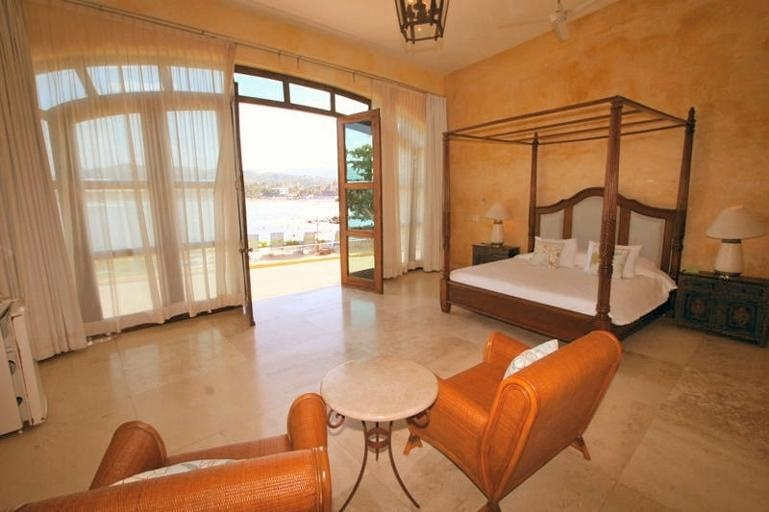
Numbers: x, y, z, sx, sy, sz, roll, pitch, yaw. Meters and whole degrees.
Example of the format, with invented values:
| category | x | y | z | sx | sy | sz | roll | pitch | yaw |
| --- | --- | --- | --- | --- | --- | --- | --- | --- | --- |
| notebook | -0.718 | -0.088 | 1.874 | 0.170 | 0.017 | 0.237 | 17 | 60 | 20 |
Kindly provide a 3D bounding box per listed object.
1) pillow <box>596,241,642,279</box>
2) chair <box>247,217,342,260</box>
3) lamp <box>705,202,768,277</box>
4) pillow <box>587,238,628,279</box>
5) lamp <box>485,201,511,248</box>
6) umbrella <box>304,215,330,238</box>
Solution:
| category | x | y | z | sx | sy | sz | roll | pitch | yaw |
| --- | --- | --- | --- | --- | --- | --- | --- | --- | --- |
| pillow | 3.277 | 0.069 | 6.680 | 0.304 | 0.376 | 0.482 | 4 | 15 | 25 |
| chair | -2.669 | -0.644 | 14.385 | 2.150 | 0.981 | 4.700 | -5 | 12 | -12 |
| lamp | 4.534 | -0.189 | 6.314 | 0.671 | 0.867 | 0.411 | -7 | 15 | -17 |
| pillow | 3.035 | 0.047 | 6.702 | 0.231 | 0.553 | 0.577 | 8 | 0 | -42 |
| lamp | 1.990 | -0.547 | 8.708 | 0.544 | 0.709 | 0.475 | -1 | 4 | -7 |
| umbrella | -1.839 | -0.754 | 14.272 | 0.980 | 0.373 | 1.202 | -6 | 19 | -2 |
